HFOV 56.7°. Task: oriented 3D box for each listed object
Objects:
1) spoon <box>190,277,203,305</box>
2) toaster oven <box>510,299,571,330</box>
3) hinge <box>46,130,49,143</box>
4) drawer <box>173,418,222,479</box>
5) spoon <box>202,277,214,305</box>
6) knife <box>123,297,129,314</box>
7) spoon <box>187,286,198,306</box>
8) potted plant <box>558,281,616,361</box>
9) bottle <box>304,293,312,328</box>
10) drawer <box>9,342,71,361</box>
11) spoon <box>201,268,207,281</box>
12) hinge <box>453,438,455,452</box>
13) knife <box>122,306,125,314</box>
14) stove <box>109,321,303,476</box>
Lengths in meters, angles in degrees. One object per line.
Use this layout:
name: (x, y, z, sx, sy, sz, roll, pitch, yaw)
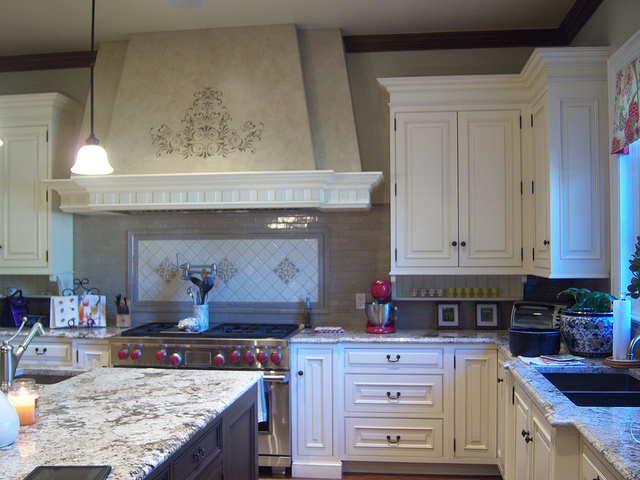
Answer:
spoon: (-1.048, 0.390, 5.059, 0.070, 0.355, 0.089, -5, -3, -27)
toaster oven: (1.676, 0.580, 4.527, 0.414, 0.227, 0.259, 5, 7, 34)
hinge: (-2.401, -0.896, 5.221, 0.025, 0.104, 0.008, 3, 6, 15)
drawer: (-0.627, 1.116, 3.069, 0.173, 0.154, 0.321, -3, 13, 18)
spoon: (-0.948, 0.436, 5.012, 0.034, 0.225, 0.071, 4, 0, -15)
knife: (-1.733, 0.589, 5.307, 0.036, 0.125, 0.199, -1, 6, -18)
spoon: (-1.097, 0.461, 5.109, 0.081, 0.209, 0.035, -4, -34, 6)
potted plant: (1.785, 0.548, 4.113, 0.416, 0.576, 0.430, 1, -6, 0)
bottle: (-0.106, 0.619, 5.160, 0.068, 0.279, 0.123, 1, 5, -1)
drawer: (-2.307, 0.939, 4.892, 0.522, 0.186, 0.120, 3, 6, 14)
spoon: (-1.011, 0.308, 5.162, 0.040, 0.125, 0.051, 0, 39, -8)
hinge: (1.026, 1.578, 4.568, 0.013, 0.082, 0.005, 3, 6, 15)
knife: (-1.733, 0.619, 5.223, 0.021, 0.053, 0.016, 1, 5, 0)
stove: (-0.805, 1.218, 4.569, 1.577, 1.082, 1.006, 3, 2, 1)
